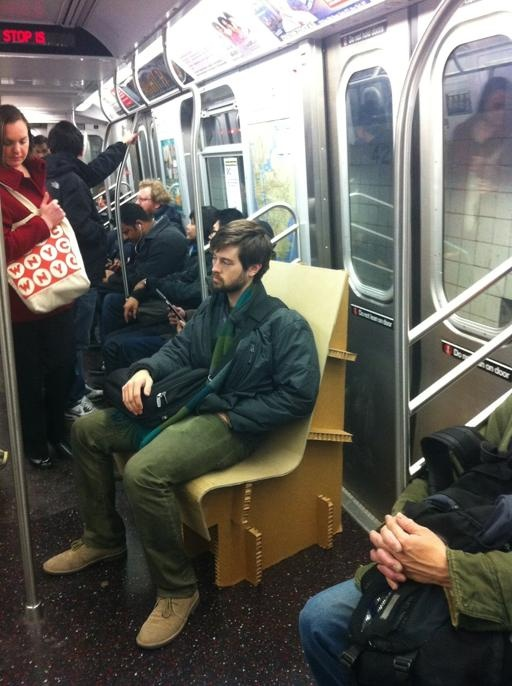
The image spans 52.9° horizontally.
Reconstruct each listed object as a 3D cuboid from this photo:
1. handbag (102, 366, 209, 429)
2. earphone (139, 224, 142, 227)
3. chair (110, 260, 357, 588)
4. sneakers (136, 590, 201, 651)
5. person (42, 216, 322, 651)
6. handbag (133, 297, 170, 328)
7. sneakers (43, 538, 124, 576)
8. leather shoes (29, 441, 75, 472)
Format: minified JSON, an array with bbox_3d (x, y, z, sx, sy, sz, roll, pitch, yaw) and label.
[{"bbox_3d":[-0.435,0.240,2.351,0.353,0.145,0.362,10,26,44],"label":"handbag"},{"bbox_3d":[-1.150,-1.174,5.137,0.028,0.039,0.024,-6,30,-20],"label":"earphone"},{"bbox_3d":[-0.078,0.368,2.503,0.892,1.167,0.763,-13,20,-29],"label":"chair"},{"bbox_3d":[-0.326,1.046,2.028,0.112,0.146,0.328,-1,10,26],"label":"sneakers"},{"bbox_3d":[-0.338,0.251,2.379,1.057,1.592,0.917,-10,13,-36],"label":"person"},{"bbox_3d":[-0.833,-0.241,4.149,0.230,0.101,0.235,-14,52,-21],"label":"handbag"},{"bbox_3d":[-0.826,1.010,2.510,0.374,0.172,0.139,-2,4,-21],"label":"sneakers"},{"bbox_3d":[-1.411,0.784,3.560,0.109,0.139,0.332,1,1,31],"label":"leather shoes"}]
